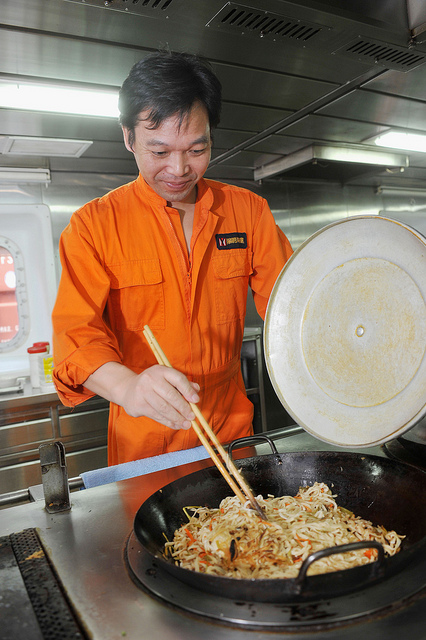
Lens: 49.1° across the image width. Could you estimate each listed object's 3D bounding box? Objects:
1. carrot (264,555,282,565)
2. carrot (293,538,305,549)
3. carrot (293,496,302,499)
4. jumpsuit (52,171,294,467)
[{"bbox_3d":[0.097,0.403,0.784,0.017,0.004,0.018,2,-5,36],"label":"carrot"},{"bbox_3d":[0.151,0.393,0.822,0.004,0.006,0.024,24,5,-27],"label":"carrot"},{"bbox_3d":[0.174,0.364,0.959,0.011,0.003,0.012,-3,-5,27],"label":"carrot"},{"bbox_3d":[-0.064,0.042,1.453,0.833,0.912,0.522,-5,25,-15],"label":"jumpsuit"}]
